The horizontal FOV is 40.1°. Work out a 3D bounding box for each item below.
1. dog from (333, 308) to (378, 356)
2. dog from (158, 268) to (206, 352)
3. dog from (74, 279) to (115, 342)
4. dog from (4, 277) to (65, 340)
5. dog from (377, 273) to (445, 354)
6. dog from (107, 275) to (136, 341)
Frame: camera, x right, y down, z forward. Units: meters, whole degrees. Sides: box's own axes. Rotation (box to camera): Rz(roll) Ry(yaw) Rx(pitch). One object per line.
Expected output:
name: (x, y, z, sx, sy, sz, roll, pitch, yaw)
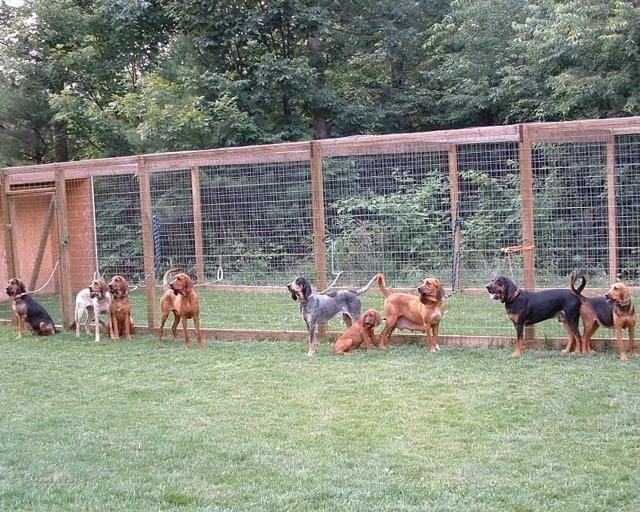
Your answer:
dog: (0.568, 1.166, 13.226, 0.737, 0.557, 0.399, -15, 1, 8)
dog: (-2.246, 0.834, 14.111, 0.580, 1.312, 2.070, -6, 2, -20)
dog: (-3.772, 0.893, 14.603, 0.364, 0.937, 1.265, -5, 1, -34)
dog: (-4.851, 0.883, 14.944, 0.765, 1.004, 0.547, -4, 14, -10)
dog: (1.409, 0.849, 13.230, 0.567, 1.194, 1.437, -7, 5, -38)
dog: (-3.274, 0.845, 14.424, 0.359, 1.118, 0.528, -5, 14, -13)
